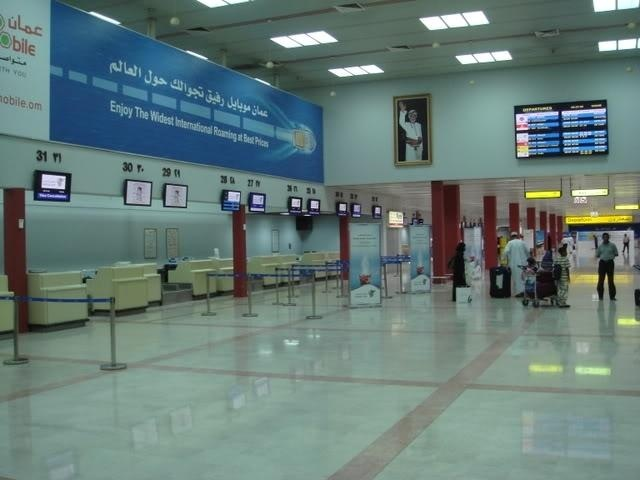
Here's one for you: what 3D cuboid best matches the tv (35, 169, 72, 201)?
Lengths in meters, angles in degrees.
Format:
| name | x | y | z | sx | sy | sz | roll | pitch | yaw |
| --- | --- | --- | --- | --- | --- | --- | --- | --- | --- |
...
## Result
| name | x | y | z | sx | sy | sz | roll | pitch | yaw |
| --- | --- | --- | --- | --- | --- | --- | --- | --- | --- |
| tv | -5.787 | -1.168 | 11.207 | 0.277 | 0.656 | 0.821 | 9 | 6 | 32 |

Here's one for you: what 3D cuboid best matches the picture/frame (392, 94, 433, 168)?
| name | x | y | z | sx | sy | sz | roll | pitch | yaw |
| --- | --- | --- | --- | --- | --- | --- | --- | --- | --- |
| picture/frame | 3.503 | -4.141 | 19.735 | 1.358 | 2.602 | 0.173 | -1 | 1 | 20 |

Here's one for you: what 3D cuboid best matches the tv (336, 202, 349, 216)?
| name | x | y | z | sx | sy | sz | roll | pitch | yaw |
| --- | --- | --- | --- | --- | --- | --- | --- | --- | --- |
| tv | 0.939 | -1.341 | 22.171 | 0.081 | 0.406 | 0.620 | -1 | 0 | 30 |

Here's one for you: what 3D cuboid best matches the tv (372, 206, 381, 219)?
| name | x | y | z | sx | sy | sz | roll | pitch | yaw |
| --- | --- | --- | --- | --- | --- | --- | --- | --- | --- |
| tv | 2.760 | -1.395 | 25.508 | 0.086 | 0.406 | 0.618 | 2 | 2 | 32 |

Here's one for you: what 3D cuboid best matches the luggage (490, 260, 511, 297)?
| name | x | y | z | sx | sy | sz | roll | pitch | yaw |
| --- | --- | --- | --- | --- | --- | --- | --- | --- | --- |
| luggage | 5.334 | 1.237 | 15.453 | 0.598 | 0.949 | 0.571 | -1 | 1 | 16 |

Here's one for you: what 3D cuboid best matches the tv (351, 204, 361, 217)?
| name | x | y | z | sx | sy | sz | roll | pitch | yaw |
| --- | --- | --- | --- | --- | --- | --- | --- | --- | --- |
| tv | 1.588 | -1.339 | 23.317 | 0.294 | 0.505 | 0.584 | 0 | -3 | 32 |

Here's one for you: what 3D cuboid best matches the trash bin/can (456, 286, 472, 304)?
| name | x | y | z | sx | sy | sz | roll | pitch | yaw |
| --- | --- | --- | --- | --- | --- | --- | --- | --- | --- |
| trash bin/can | 3.943 | 1.501 | 14.581 | 0.545 | 0.496 | 0.395 | 3 | 13 | 3 |

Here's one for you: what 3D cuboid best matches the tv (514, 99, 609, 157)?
| name | x | y | z | sx | sy | sz | roll | pitch | yaw |
| --- | --- | --- | --- | --- | --- | --- | --- | --- | --- |
| tv | 8.263 | -3.784 | 17.907 | 2.752 | 1.827 | 0.142 | -1 | 1 | 19 |

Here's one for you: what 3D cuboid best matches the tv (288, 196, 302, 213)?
| name | x | y | z | sx | sy | sz | roll | pitch | yaw |
| --- | --- | --- | --- | --- | --- | --- | --- | --- | --- |
| tv | -0.936 | -1.305 | 19.044 | 0.322 | 0.505 | 0.638 | 3 | 3 | 30 |

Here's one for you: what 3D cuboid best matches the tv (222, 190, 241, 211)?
| name | x | y | z | sx | sy | sz | roll | pitch | yaw |
| --- | --- | --- | --- | --- | --- | --- | --- | --- | --- |
| tv | -2.742 | -1.252 | 16.097 | 0.336 | 0.624 | 0.869 | -1 | 1 | 21 |

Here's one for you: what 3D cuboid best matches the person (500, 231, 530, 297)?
| name | x | y | z | sx | sy | sz | roll | pitch | yaw |
| --- | --- | --- | --- | --- | --- | --- | --- | --- | --- |
| person | 5.937 | 0.725 | 15.668 | 0.835 | 1.899 | 0.696 | -6 | -7 | 14 |

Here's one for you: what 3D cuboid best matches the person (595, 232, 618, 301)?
| name | x | y | z | sx | sy | sz | roll | pitch | yaw |
| --- | --- | --- | --- | --- | --- | --- | --- | --- | --- |
| person | 7.728 | 0.660 | 14.107 | 0.679 | 2.224 | 0.607 | 5 | 4 | 25 |

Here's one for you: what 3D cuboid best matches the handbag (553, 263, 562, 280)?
| name | x | y | z | sx | sy | sz | roll | pitch | yaw |
| --- | --- | --- | --- | --- | --- | --- | --- | --- | --- |
| handbag | 5.897 | 0.788 | 12.979 | 0.200 | 0.395 | 0.319 | -1 | 1 | 23 |

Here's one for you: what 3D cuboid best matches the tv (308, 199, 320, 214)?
| name | x | y | z | sx | sy | sz | roll | pitch | yaw |
| --- | --- | --- | --- | --- | --- | --- | --- | --- | --- |
| tv | -0.251 | -1.329 | 20.225 | 0.294 | 0.498 | 0.611 | 2 | 0 | 30 |

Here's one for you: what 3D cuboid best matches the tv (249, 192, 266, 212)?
| name | x | y | z | sx | sy | sz | roll | pitch | yaw |
| --- | --- | --- | --- | --- | --- | --- | --- | --- | --- |
| tv | -2.057 | -1.257 | 17.034 | 0.096 | 0.568 | 0.712 | 3 | 3 | 39 |
